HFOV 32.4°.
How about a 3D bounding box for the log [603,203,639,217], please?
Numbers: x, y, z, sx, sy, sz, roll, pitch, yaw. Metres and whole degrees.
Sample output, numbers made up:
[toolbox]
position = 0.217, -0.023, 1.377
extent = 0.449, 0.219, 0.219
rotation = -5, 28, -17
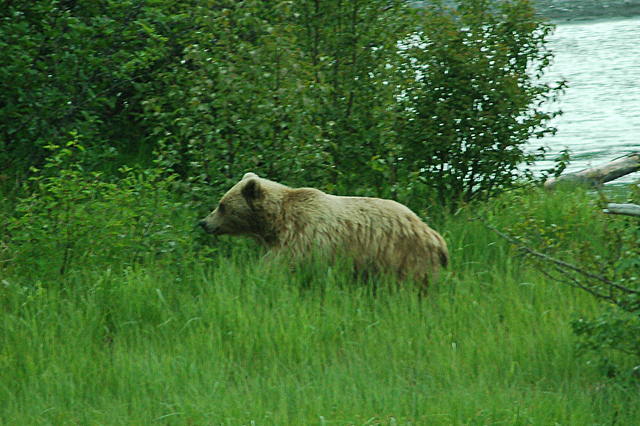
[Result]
[log]
position = 4.352, -0.035, 15.905
extent = 0.502, 0.175, 0.198
rotation = 2, 5, 12
